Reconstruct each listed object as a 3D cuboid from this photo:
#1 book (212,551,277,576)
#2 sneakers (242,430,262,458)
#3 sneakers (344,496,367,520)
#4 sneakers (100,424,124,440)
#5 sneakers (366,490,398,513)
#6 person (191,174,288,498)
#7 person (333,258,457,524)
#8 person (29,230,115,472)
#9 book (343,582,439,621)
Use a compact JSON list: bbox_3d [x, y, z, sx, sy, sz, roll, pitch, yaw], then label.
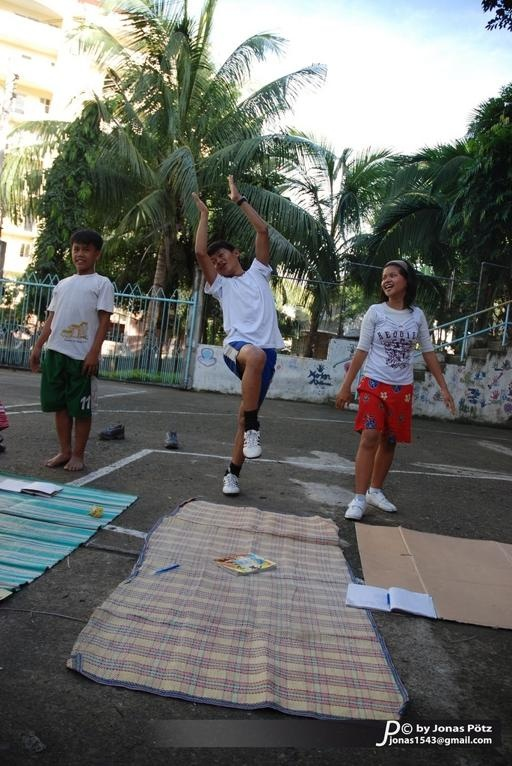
[{"bbox_3d":[-0.051,0.866,2.424,0.274,0.029,0.195,6,1,-36],"label":"book"},{"bbox_3d":[-0.027,0.412,3.502,0.085,0.105,0.239,-2,27,-4],"label":"sneakers"},{"bbox_3d":[0.707,0.867,3.542,0.117,0.159,0.284,7,1,31],"label":"sneakers"},{"bbox_3d":[-1.512,0.542,5.394,0.301,0.139,0.110,2,-5,-37],"label":"sneakers"},{"bbox_3d":[0.930,0.893,3.872,0.114,0.130,0.311,-4,10,-37],"label":"sneakers"},{"bbox_3d":[-0.169,-0.410,3.799,0.743,2.193,0.878,6,1,-1],"label":"person"},{"bbox_3d":[0.912,0.021,3.702,0.719,1.922,0.397,5,2,-42],"label":"person"},{"bbox_3d":[-1.475,-0.309,4.052,0.489,1.576,0.577,5,2,-37],"label":"person"},{"bbox_3d":[0.584,0.946,2.205,0.408,0.051,0.235,7,1,3],"label":"book"}]
